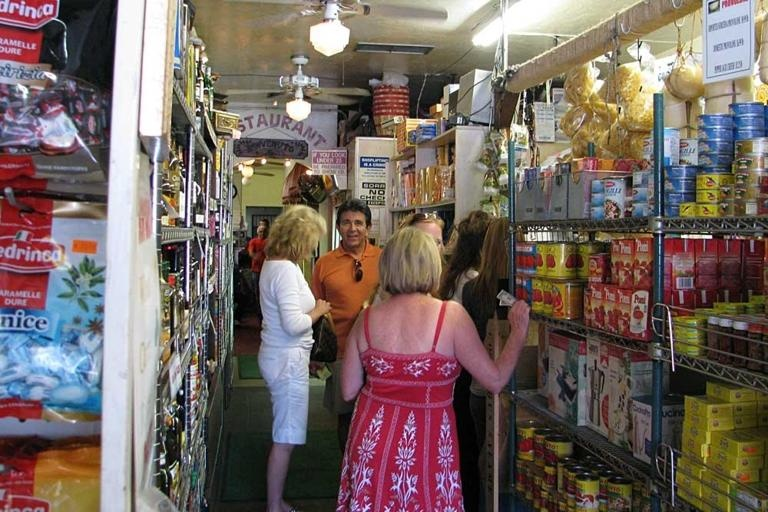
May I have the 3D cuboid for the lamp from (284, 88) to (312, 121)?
[{"bbox_3d":[-1.014,-1.811,7.321,0.234,0.326,0.433,1,4,-5],"label":"lamp"}]

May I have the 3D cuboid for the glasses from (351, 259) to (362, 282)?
[{"bbox_3d":[-0.196,0.098,4.513,0.079,0.136,0.057,5,-13,-38],"label":"glasses"}]
